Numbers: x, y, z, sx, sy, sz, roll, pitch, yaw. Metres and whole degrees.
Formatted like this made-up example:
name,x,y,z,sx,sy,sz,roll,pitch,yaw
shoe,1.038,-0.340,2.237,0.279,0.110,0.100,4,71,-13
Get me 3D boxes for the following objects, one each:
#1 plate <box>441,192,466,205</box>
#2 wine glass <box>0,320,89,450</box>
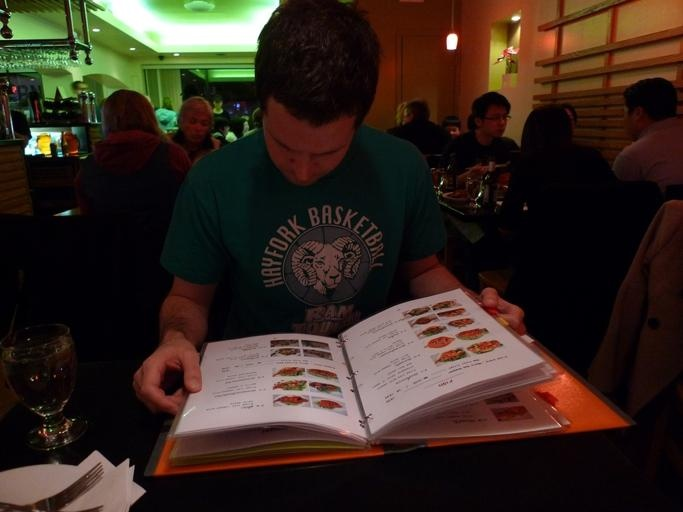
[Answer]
name,x,y,z,sx,sy,sz,roll,pitch,yaw
plate,0.776,-0.395,3.368,0.123,0.025,0.146,1,26,8
wine glass,-0.571,0.256,0.934,0.141,0.213,0.131,-9,22,-13
